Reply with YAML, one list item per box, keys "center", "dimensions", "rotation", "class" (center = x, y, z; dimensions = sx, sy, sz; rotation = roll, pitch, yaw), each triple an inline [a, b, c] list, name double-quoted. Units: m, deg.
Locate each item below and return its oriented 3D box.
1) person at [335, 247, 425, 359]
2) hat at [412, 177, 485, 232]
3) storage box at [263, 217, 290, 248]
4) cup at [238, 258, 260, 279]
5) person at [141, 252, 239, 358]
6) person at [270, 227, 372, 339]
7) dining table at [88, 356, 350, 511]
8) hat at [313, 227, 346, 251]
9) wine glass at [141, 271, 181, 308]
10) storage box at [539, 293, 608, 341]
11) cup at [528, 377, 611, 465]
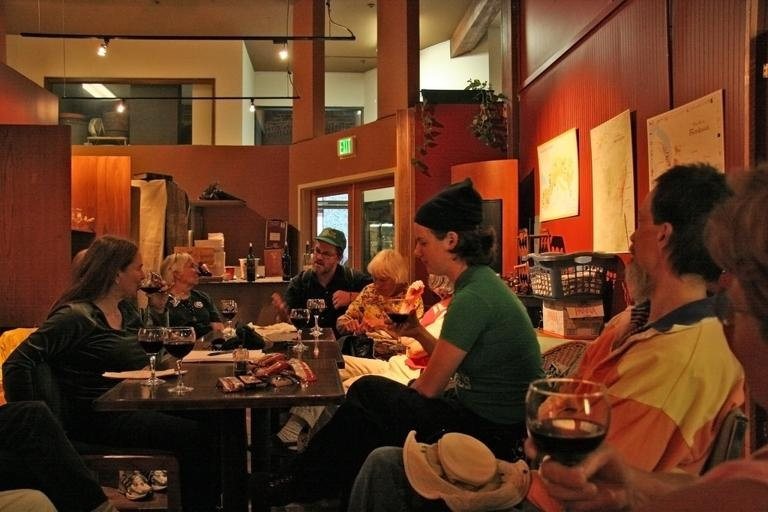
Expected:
- center: [-0.023, 0.429, 5.389]
  dimensions: [0.649, 0.878, 0.673]
  rotation: [3, -3, 13]
  class: "person"
- center: [0.329, -0.259, 3.633]
  dimensions: [0.339, 0.241, 0.236]
  rotation: [-6, 6, -1]
  class: "hat"
- center: [-1.326, -0.283, 8.925]
  dimensions: [0.341, 0.457, 0.136]
  rotation: [0, -5, -12]
  class: "storage box"
- center: [-1.523, 0.160, 8.084]
  dimensions: [0.245, 0.265, 0.262]
  rotation: [-1, -2, 0]
  class: "cup"
- center: [-1.488, 0.304, 5.311]
  dimensions: [0.814, 0.862, 0.599]
  rotation: [-2, -1, 9]
  class: "person"
- center: [-0.473, 0.191, 6.014]
  dimensions: [0.789, 0.976, 0.864]
  rotation: [-1, -6, 0]
  class: "person"
- center: [-0.782, 0.808, 3.563]
  dimensions: [0.949, 0.870, 0.929]
  rotation: [1, -2, 1]
  class: "dining table"
- center: [-0.418, -0.135, 5.967]
  dimensions: [0.172, 0.113, 0.240]
  rotation: [21, 4, 11]
  class: "hat"
- center: [-1.615, 0.243, 4.913]
  dimensions: [0.367, 0.216, 0.213]
  rotation: [2, 4, 9]
  class: "wine glass"
- center: [1.200, 0.386, 4.420]
  dimensions: [0.448, 0.302, 0.241]
  rotation: [0, -4, 5]
  class: "storage box"
- center: [0.610, 0.591, 2.580]
  dimensions: [0.293, 0.304, 0.292]
  rotation: [0, -7, 0]
  class: "cup"
